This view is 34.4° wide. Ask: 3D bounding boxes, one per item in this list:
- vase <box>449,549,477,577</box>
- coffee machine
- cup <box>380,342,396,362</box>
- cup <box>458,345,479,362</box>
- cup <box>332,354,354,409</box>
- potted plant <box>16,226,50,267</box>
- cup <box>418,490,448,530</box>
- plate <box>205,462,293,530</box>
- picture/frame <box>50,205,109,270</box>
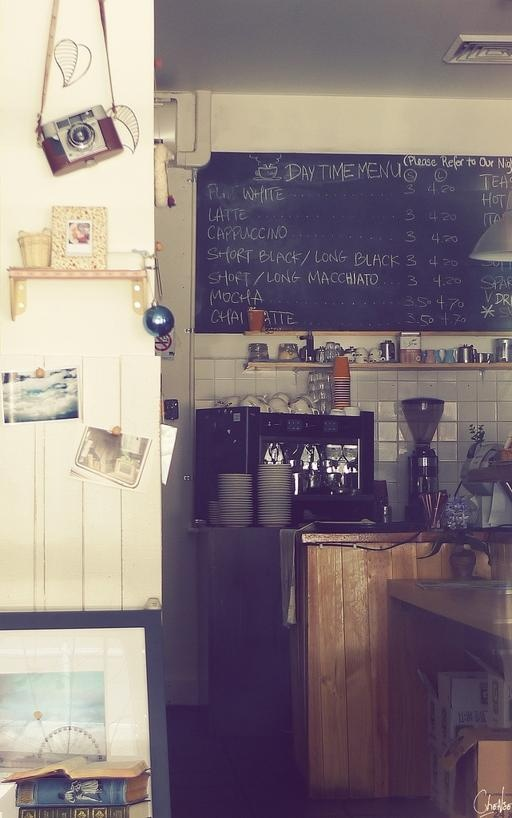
[{"bbox_3d":[0.691,0.510,2.767,0.083,0.093,0.085,-2,-5,18],"label":"vase"},{"bbox_3d":[0.268,0.258,4.230,0.755,0.556,0.462,-1,7,2],"label":"coffee machine"},{"bbox_3d":[0.714,-0.307,4.455,0.086,0.173,0.096,0,2,9],"label":"cup"},{"bbox_3d":[1.145,-0.298,4.511,0.099,0.103,0.074,5,-7,-28],"label":"cup"},{"bbox_3d":[0.437,-0.137,4.328,0.090,0.288,0.093,-2,-5,0],"label":"cup"},{"bbox_3d":[-0.539,-0.392,2.017,0.076,0.113,0.051,-1,-5,-17],"label":"potted plant"},{"bbox_3d":[0.658,0.390,3.172,0.118,0.135,0.125,2,-10,0],"label":"cup"},{"bbox_3d":[-0.059,0.400,3.809,0.450,0.275,0.351,-5,-6,19],"label":"plate"},{"bbox_3d":[-0.432,-0.423,2.029,0.137,0.170,0.011,-1,-19,-13],"label":"picture/frame"}]
